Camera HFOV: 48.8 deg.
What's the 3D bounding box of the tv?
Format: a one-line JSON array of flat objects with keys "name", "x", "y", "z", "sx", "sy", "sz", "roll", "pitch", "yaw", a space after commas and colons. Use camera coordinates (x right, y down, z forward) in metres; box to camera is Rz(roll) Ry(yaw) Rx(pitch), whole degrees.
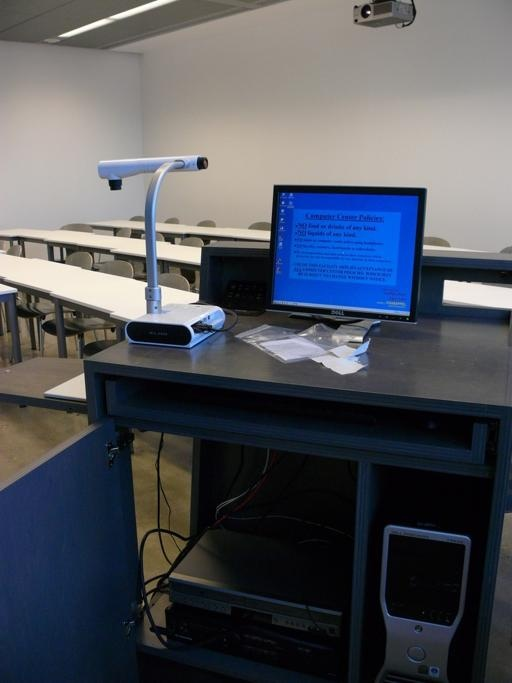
[{"name": "tv", "x": 0.199, "y": -0.195, "z": 1.250, "sx": 0.287, "sy": 0.257, "sz": 0.031, "roll": 9, "pitch": 11, "yaw": 22}]
